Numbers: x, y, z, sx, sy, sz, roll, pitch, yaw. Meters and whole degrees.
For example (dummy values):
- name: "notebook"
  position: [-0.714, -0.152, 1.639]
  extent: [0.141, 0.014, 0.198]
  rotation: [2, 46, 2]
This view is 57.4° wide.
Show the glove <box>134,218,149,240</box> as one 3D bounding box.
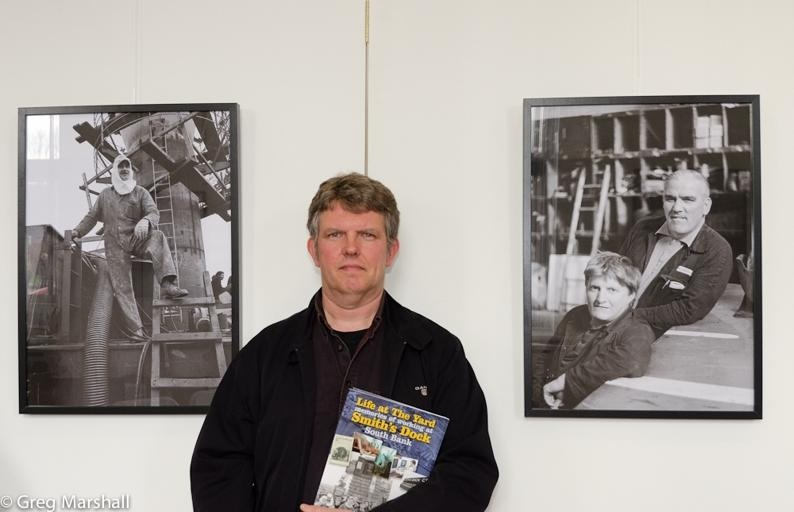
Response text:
- name: "glove"
  position: [-1.221, -0.129, 3.462]
  extent: [0.071, 0.093, 0.023]
  rotation: [5, -8, 11]

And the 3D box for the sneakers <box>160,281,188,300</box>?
- name: "sneakers"
  position: [-1.066, 0.155, 3.505]
  extent: [0.159, 0.112, 0.059]
  rotation: [-2, -3, 10]
